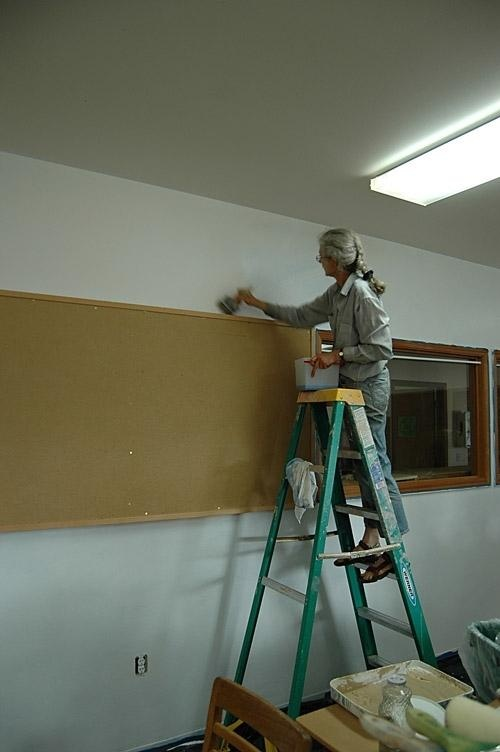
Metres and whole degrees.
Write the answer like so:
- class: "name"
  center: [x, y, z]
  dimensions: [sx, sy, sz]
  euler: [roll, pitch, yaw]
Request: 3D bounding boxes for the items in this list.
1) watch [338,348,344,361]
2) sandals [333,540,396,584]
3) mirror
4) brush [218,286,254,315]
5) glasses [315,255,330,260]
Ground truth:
- class: "watch"
  center: [0.380, -0.094, 2.450]
  dimensions: [0.024, 0.036, 0.013]
  euler: [-3, -3, 33]
- class: "sandals"
  center: [0.475, 0.759, 2.379]
  dimensions: [0.262, 0.080, 0.187]
  euler: [1, -4, -39]
- class: "mirror"
  center: [0.768, 0.209, 3.005]
  dimensions: [1.011, 1.226, 0.156]
  euler: [1, -3, -32]
- class: "brush"
  center: [-0.077, -0.342, 2.678]
  dimensions: [0.045, 0.095, 0.137]
  euler: [-52, 0, 40]
- class: "glasses"
  center: [0.306, -0.502, 2.512]
  dimensions: [0.048, 0.015, 0.046]
  euler: [2, 2, -10]
